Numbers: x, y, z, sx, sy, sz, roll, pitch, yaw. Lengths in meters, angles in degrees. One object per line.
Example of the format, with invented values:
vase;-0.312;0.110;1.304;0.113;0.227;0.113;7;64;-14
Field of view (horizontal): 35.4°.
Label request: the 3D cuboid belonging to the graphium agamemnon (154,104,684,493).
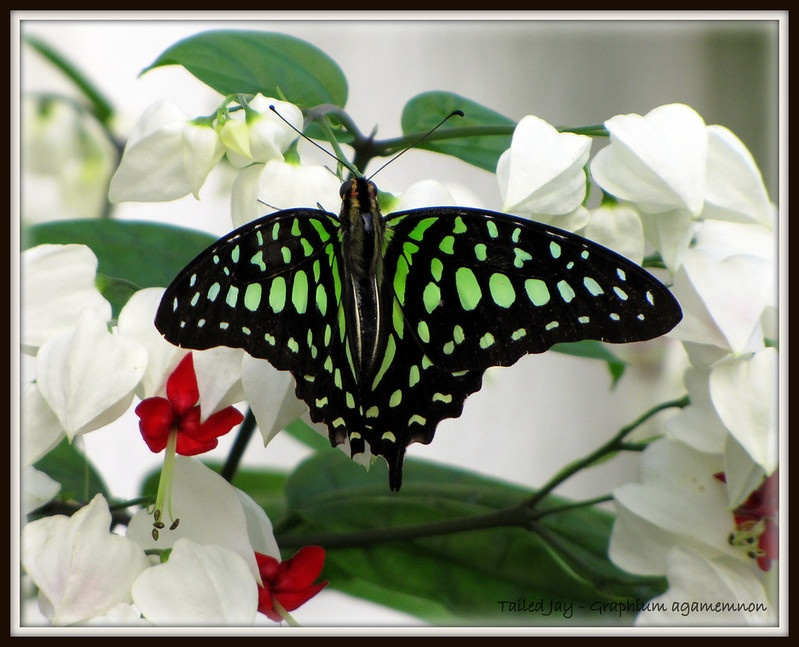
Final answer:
graphium agamemnon;-0.016;-0.018;1.314;0.589;0.351;0.300;1;-10;28
